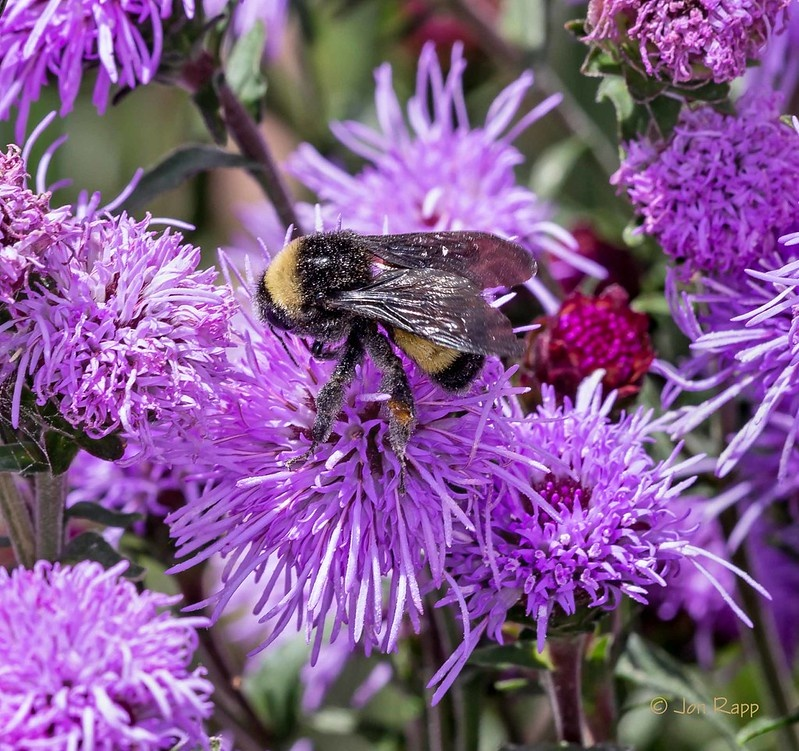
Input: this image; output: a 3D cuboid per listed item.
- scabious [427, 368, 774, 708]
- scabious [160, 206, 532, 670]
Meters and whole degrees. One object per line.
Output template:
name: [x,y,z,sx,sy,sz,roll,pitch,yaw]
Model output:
scabious: [0.118,0.126,0.930,0.264,0.165,0.228,-15,54,-11]
scabious: [-0.052,0.091,0.990,0.288,0.353,0.235,-27,36,-28]
